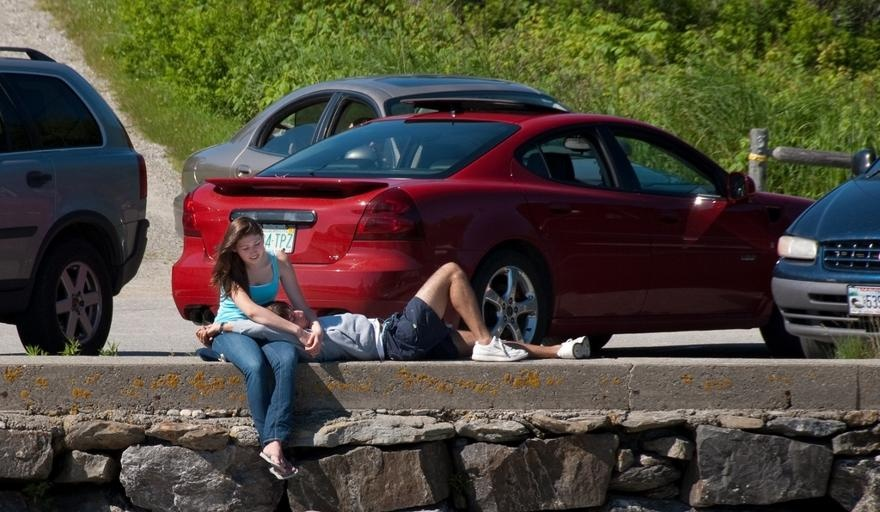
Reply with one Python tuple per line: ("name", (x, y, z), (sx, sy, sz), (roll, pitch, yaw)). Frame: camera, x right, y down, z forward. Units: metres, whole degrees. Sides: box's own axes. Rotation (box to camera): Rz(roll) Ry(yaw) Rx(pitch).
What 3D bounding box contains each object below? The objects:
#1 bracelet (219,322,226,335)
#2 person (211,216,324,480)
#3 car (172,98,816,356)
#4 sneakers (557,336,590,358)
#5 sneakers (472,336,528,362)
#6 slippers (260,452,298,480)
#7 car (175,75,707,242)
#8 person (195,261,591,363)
("bracelet", (-1.878, 0.613, 9.739), (0.056, 0.080, 0.075), (8, -28, 9))
("person", (-1.479, 0.733, 9.672), (0.821, 2.085, 1.008), (-3, 5, -39))
("car", (1.073, -0.248, 11.301), (5.663, 1.594, 2.575), (-4, 4, -37))
("sneakers", (1.195, 0.825, 10.051), (0.124, 0.144, 0.294), (-9, -2, 35))
("sneakers", (0.521, 0.809, 9.813), (0.407, 0.155, 0.203), (-1, -4, -4))
("slippers", (-1.350, 1.727, 9.360), (0.327, 0.131, 0.126), (32, 10, 8))
("car", (-0.797, -1.245, 14.362), (5.082, 1.505, 2.073), (-6, 5, 0))
("person", (-0.307, 0.708, 10.156), (2.958, 0.783, 1.247), (-4, -11, -11))
